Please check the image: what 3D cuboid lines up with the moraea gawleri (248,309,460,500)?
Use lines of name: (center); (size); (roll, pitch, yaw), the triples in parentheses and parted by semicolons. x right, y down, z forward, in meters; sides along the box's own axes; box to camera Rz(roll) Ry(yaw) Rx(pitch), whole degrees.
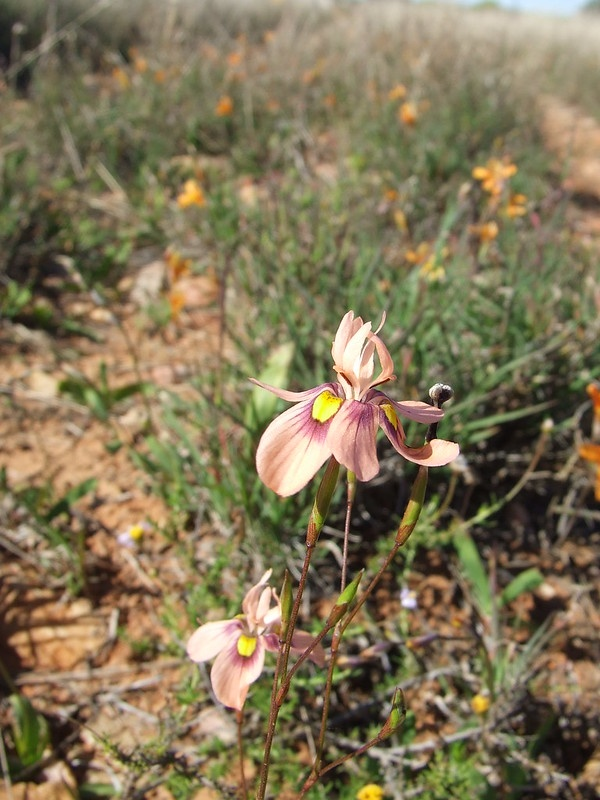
moraea gawleri: (0.081, 0.002, 1.350); (0.405, 0.405, 0.297); (-18, 112, -35)
